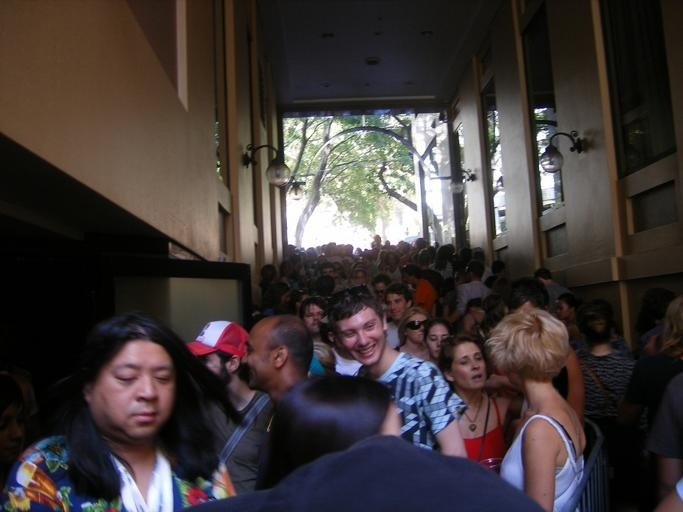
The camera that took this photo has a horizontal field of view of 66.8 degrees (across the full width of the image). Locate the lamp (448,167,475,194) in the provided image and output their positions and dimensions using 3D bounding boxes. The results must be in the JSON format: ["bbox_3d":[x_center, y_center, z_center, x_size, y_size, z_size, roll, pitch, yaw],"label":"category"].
[{"bbox_3d":[3.461,-2.129,14.715,0.720,0.795,0.465,2,1,-3],"label":"lamp"}]

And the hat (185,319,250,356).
[{"bbox_3d":[-0.760,0.516,3.245,0.382,0.211,0.259,2,-5,-5],"label":"hat"}]

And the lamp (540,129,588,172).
[{"bbox_3d":[3.457,-1.628,8.165,0.626,0.701,0.336,-2,0,5],"label":"lamp"}]

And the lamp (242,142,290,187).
[{"bbox_3d":[-1.405,-1.707,9.814,0.805,0.883,0.428,-3,1,-9],"label":"lamp"}]
